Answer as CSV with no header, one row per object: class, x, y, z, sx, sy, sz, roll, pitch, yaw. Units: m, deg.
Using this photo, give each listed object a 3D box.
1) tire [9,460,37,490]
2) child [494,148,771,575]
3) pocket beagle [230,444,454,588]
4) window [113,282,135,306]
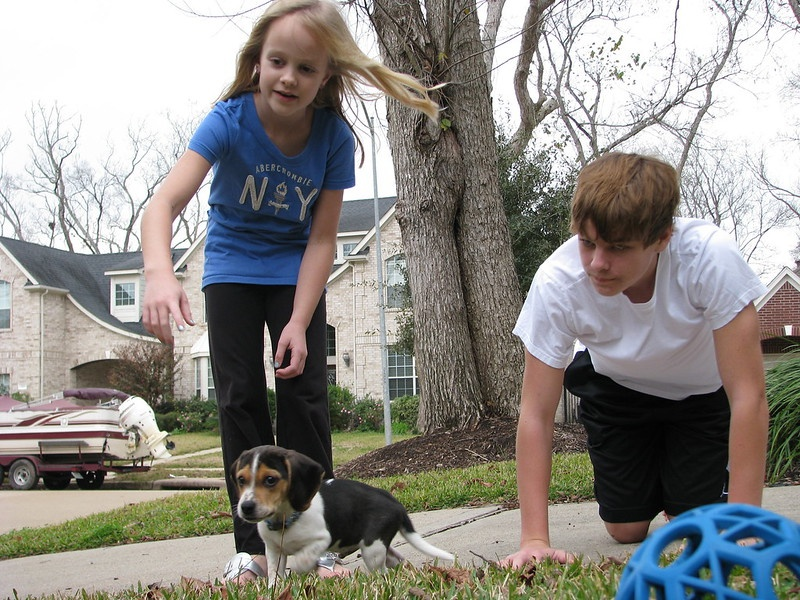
tire,-8.022,3.690,13.648,0.467,0.482,0.167,-29,-12,9
child,1.160,0.180,3.144,1.247,2.211,1.554,4,1,8
pocket beagle,-0.292,0.812,2.758,0.793,0.658,0.709,-7,-9,43
window,-13.101,-0.332,30.383,1.035,1.224,0.085,2,-3,-7
